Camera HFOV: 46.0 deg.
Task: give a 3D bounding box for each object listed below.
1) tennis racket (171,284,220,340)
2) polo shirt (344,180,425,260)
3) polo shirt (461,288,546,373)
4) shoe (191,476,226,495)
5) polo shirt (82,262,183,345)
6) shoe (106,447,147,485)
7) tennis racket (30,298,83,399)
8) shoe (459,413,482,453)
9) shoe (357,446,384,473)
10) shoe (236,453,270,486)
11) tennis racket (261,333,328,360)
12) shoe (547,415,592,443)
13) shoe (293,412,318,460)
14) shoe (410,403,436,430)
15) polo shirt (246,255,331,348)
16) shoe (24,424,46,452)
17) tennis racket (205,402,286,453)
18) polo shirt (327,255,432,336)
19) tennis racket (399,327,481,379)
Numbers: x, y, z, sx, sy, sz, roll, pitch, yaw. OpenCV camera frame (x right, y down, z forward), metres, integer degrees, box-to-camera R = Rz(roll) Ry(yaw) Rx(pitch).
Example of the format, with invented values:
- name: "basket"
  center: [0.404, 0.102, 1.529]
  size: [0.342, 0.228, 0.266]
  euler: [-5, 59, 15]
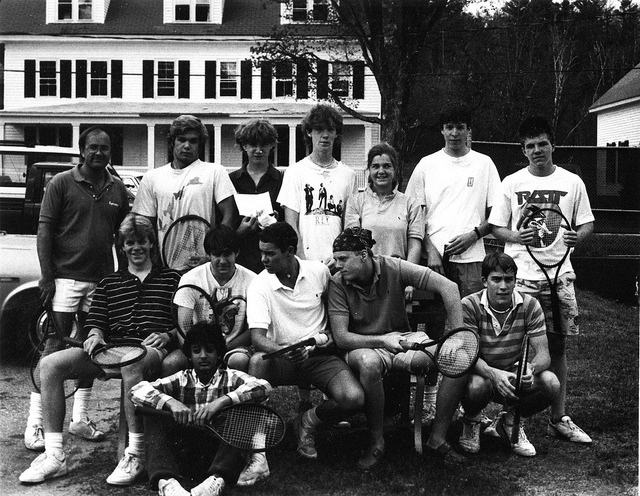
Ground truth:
- name: "tennis racket"
  center: [-1.045, 0.567, 6.336]
  size: [0.507, 0.577, 0.132]
  euler: [6, 37, 21]
- name: "polo shirt"
  center: [0.479, -0.246, 7.258]
  size: [0.904, 1.113, 0.574]
  euler: [0, -1, -3]
- name: "polo shirt"
  center: [1.610, 0.699, 6.715]
  size: [0.728, 0.836, 0.443]
  euler: [-1, 43, 4]
- name: "shoe"
  center: [-0.850, 1.810, 5.716]
  size: [0.111, 0.111, 0.277]
  euler: [42, 11, 25]
- name: "polo shirt"
  center: [-1.570, 0.520, 6.580]
  size: [1.017, 0.902, 0.506]
  euler: [2, -9, -1]
- name: "shoe"
  center: [-1.524, 1.750, 6.041]
  size: [0.160, 0.237, 0.503]
  euler: [7, -1, 19]
- name: "tennis racket"
  center: [-2.260, 0.747, 6.384]
  size: [0.486, 1.356, 0.072]
  euler: [-2, 38, -15]
- name: "shoe"
  center: [1.304, 1.569, 6.532]
  size: [0.192, 0.352, 0.188]
  euler: [0, 9, -2]
- name: "shoe"
  center: [0.424, 1.723, 6.225]
  size: [0.257, 0.178, 0.172]
  euler: [-1, 10, -13]
- name: "shoe"
  center: [-0.546, 1.734, 5.998]
  size: [0.310, 0.248, 0.124]
  euler: [-9, 3, -40]
- name: "tennis racket"
  center: [-0.187, 0.800, 6.081]
  size: [0.561, 0.200, 0.178]
  euler: [-2, 10, -18]
- name: "shoe"
  center: [2.235, 1.619, 6.839]
  size: [0.413, 0.217, 0.158]
  euler: [6, 9, 28]
- name: "shoe"
  center: [-0.144, 1.612, 6.367]
  size: [0.133, 0.427, 0.164]
  euler: [3, -22, -43]
- name: "shoe"
  center: [0.956, 1.526, 6.843]
  size: [0.169, 0.256, 0.094]
  euler: [-9, -38, 34]
- name: "polo shirt"
  center: [-0.203, 0.463, 6.548]
  size: [0.831, 0.706, 0.453]
  euler: [-16, 3, 1]
- name: "shoe"
  center: [-2.448, 1.622, 6.456]
  size: [0.140, 0.167, 0.363]
  euler: [3, -5, -27]
- name: "tennis racket"
  center: [-0.580, 1.357, 5.686]
  size: [0.631, 0.462, 0.181]
  euler: [5, 10, 21]
- name: "polo shirt"
  center: [0.579, 0.445, 6.590]
  size: [0.983, 0.769, 0.457]
  euler: [-17, -15, 27]
- name: "tennis racket"
  center: [0.971, 0.795, 6.010]
  size: [0.274, 0.444, 0.647]
  euler: [-6, 13, -37]
